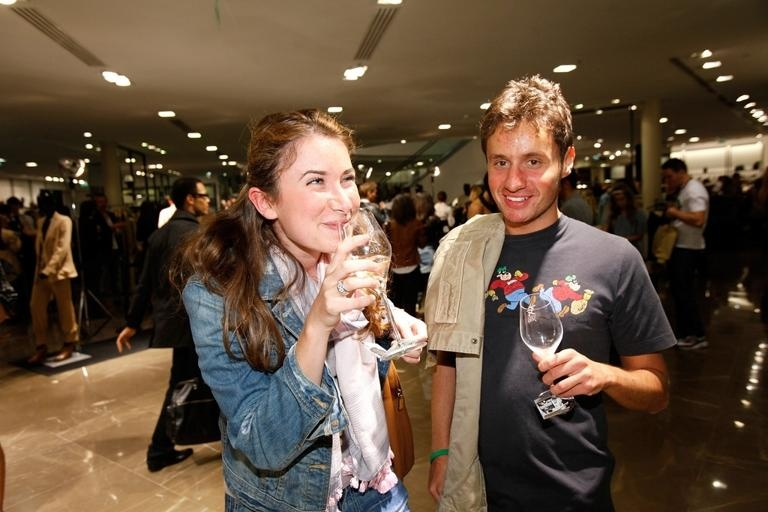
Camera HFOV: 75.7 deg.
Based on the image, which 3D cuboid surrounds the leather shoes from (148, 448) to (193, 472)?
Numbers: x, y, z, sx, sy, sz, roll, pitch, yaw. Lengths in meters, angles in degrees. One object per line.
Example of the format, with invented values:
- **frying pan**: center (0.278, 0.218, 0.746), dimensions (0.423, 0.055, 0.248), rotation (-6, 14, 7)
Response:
- **leather shoes**: center (-1.883, 1.771, 4.379), dimensions (0.122, 0.149, 0.365), rotation (10, 15, 40)

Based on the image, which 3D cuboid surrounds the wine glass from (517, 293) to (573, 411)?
- **wine glass**: center (0.800, 0.501, 2.473), dimensions (0.235, 0.588, 0.293), rotation (-5, 15, -6)

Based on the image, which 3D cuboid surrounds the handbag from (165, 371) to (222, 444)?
- **handbag**: center (-1.504, 1.271, 4.044), dimensions (0.304, 0.529, 0.456), rotation (8, -21, -36)
